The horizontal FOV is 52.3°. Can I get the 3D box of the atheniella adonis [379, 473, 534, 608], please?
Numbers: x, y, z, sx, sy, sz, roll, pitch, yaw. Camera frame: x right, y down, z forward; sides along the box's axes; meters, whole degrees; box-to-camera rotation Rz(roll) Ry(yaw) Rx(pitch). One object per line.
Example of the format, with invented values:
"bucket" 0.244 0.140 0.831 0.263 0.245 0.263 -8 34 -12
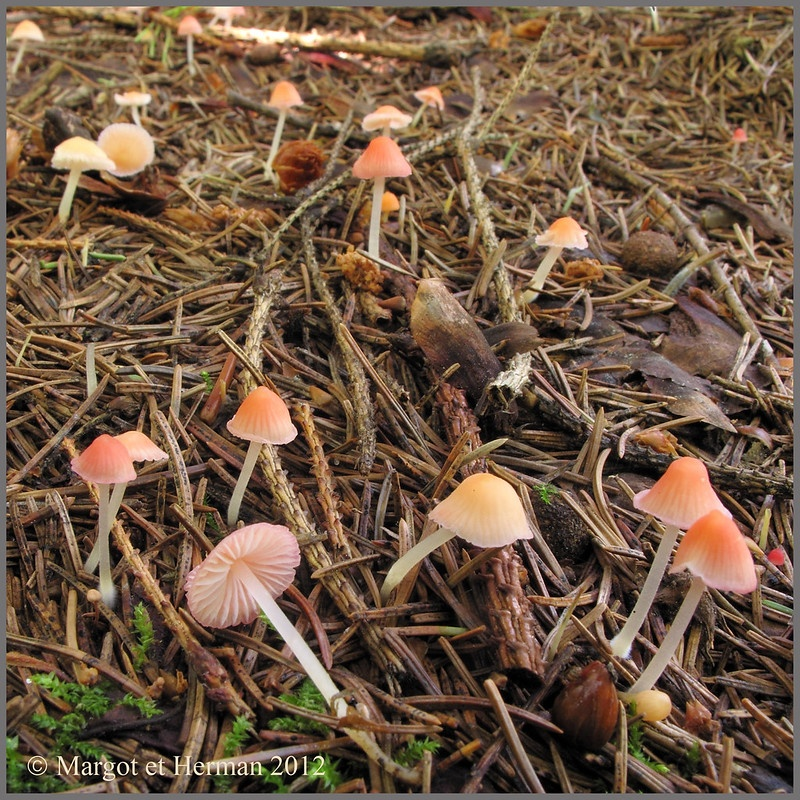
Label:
"atheniella adonis" 0.274 0.650 3.575 0.422 0.639 0.488 28 52 10
